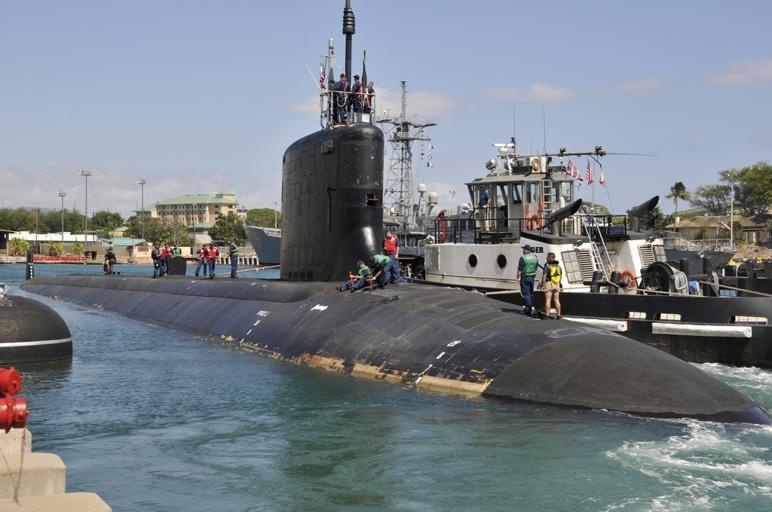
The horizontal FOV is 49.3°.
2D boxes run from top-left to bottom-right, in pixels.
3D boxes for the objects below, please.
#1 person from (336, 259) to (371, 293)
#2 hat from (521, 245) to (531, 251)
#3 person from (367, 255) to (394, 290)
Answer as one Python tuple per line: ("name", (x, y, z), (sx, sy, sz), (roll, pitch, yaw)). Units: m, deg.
("person", (-0.577, 0.478, 18.776), (0.911, 0.402, 0.541), (-16, 15, -41))
("hat", (2.793, -0.160, 16.770), (0.130, 0.093, 0.185), (-23, 38, -31))
("person", (-0.085, 0.358, 18.647), (0.610, 0.657, 0.280), (0, -4, 1))
